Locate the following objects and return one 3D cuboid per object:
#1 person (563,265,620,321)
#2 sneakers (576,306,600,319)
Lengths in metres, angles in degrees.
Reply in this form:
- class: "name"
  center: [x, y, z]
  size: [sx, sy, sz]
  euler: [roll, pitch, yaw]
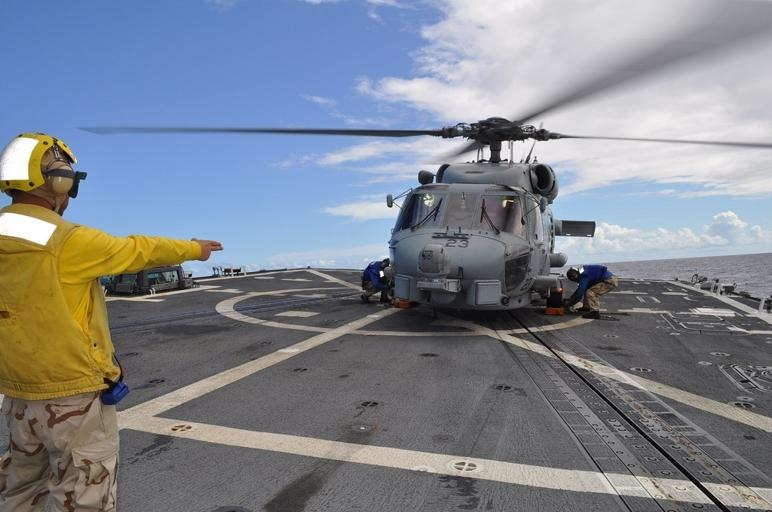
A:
- class: "person"
  center: [6.070, 0.970, 11.769]
  size: [1.802, 1.077, 0.986]
  euler: [-5, 0, -9]
- class: "sneakers"
  center: [5.559, 1.553, 10.998]
  size: [0.671, 0.204, 0.208]
  euler: [19, 17, 33]
